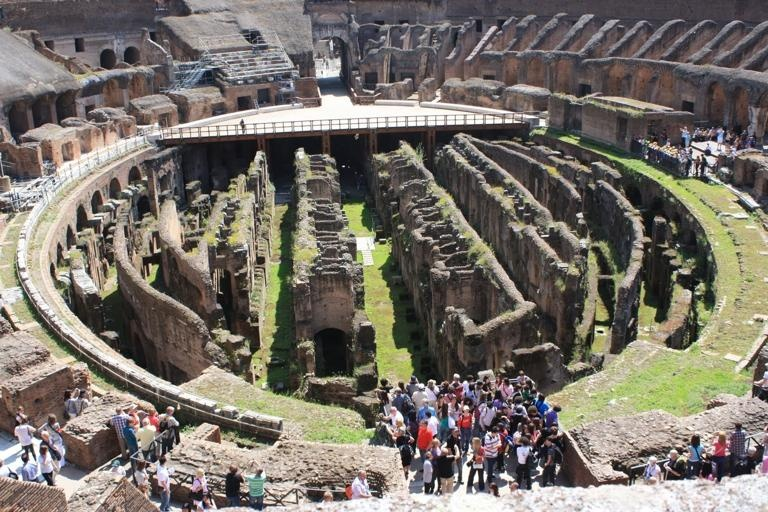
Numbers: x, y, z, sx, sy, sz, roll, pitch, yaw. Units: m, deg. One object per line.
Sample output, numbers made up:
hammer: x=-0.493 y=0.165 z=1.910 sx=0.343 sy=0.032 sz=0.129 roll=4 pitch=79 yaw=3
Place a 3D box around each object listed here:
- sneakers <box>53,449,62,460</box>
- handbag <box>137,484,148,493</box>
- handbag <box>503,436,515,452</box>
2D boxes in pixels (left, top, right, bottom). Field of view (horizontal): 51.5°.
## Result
sneakers: x=-9.036 y=5.470 z=22.002 sx=0.228 sy=0.308 sz=0.114 roll=6 pitch=42 yaw=36
handbag: x=-6.350 y=6.156 z=21.085 sx=0.286 sy=0.077 sz=0.222 roll=37 pitch=-13 yaw=-35
handbag: x=3.421 y=5.208 z=22.050 sx=0.384 sy=0.241 sz=0.503 roll=-1 pitch=17 yaw=-2
